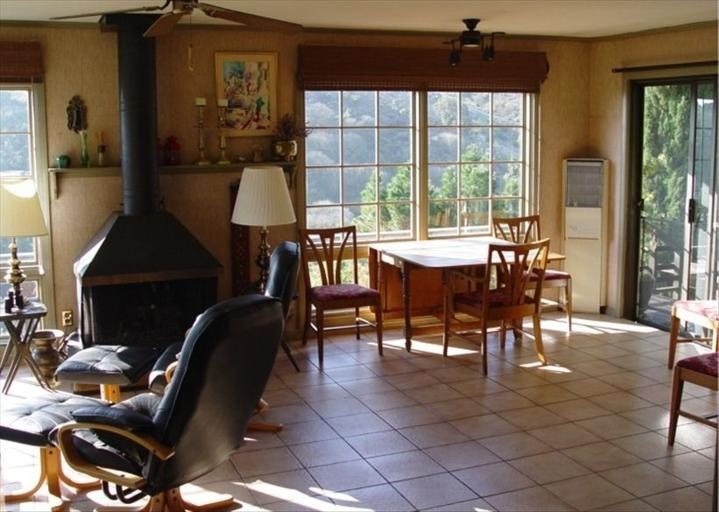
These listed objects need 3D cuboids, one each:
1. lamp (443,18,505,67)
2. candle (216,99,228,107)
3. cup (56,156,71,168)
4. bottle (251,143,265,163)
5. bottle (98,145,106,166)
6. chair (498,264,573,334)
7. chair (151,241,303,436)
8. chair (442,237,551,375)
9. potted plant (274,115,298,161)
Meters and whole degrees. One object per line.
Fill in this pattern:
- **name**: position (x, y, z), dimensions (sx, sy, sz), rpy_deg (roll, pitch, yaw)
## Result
- **lamp**: position (1.041, -1.975, 5.474), dimensions (0.570, 0.332, 0.566), rpy_deg (1, 7, 23)
- **candle**: position (-1.253, -1.414, 5.421), dimensions (0.085, 0.055, 0.079), rpy_deg (-4, 19, -15)
- **cup**: position (-2.590, -0.824, 5.170), dimensions (0.112, 0.100, 0.110), rpy_deg (0, 0, 0)
- **bottle**: position (-0.985, -0.983, 5.700), dimensions (0.130, 0.167, 0.146), rpy_deg (-2, 15, -6)
- **bottle**: position (-2.293, -0.905, 5.287), dimensions (0.046, 0.187, 0.087), rpy_deg (9, 18, 32)
- **chair**: position (1.982, 0.472, 6.130), dimensions (0.529, 0.521, 0.480), rpy_deg (-2, 0, -34)
- **chair**: position (-0.768, 0.415, 4.413), dimensions (0.736, 0.836, 0.540), rpy_deg (-12, 19, 10)
- **chair**: position (1.228, 0.385, 5.408), dimensions (0.956, 1.069, 0.982), rpy_deg (1, 6, 18)
- **potted plant**: position (-0.721, -1.143, 5.716), dimensions (0.244, 0.430, 0.175), rpy_deg (-3, 15, -9)
